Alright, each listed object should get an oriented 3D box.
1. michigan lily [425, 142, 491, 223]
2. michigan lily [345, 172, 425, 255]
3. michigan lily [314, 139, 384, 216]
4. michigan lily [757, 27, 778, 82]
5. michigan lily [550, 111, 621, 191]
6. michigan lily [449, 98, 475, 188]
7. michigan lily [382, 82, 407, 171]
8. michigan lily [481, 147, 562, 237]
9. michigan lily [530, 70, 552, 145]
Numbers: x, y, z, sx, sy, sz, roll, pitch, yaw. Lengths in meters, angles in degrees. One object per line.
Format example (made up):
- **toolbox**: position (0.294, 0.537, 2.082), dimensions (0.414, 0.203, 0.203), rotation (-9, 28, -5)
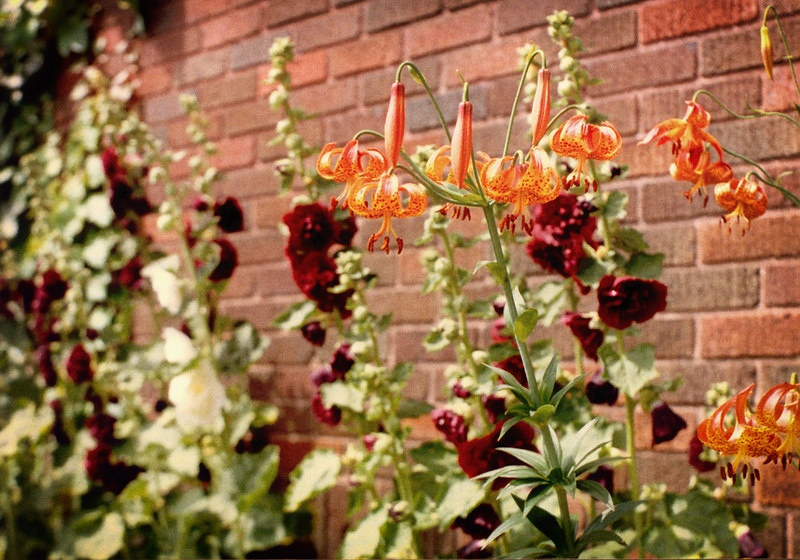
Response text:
- **michigan lily**: position (0.140, -0.216, 2.386), dimensions (0.184, 0.199, 0.162), rotation (0, 0, -28)
- **michigan lily**: position (-0.041, -0.143, 2.352), dimensions (0.179, 0.189, 0.189), rotation (-1, -3, -8)
- **michigan lily**: position (-0.104, -0.258, 2.352), dimensions (0.161, 0.190, 0.179), rotation (5, -17, -3)
- **michigan lily**: position (0.830, -0.516, 2.359), dimensions (0.020, 0.129, 0.122), rotation (-8, -2, 20)
- **michigan lily**: position (0.397, -0.292, 2.309), dimensions (0.149, 0.177, 0.163), rotation (9, -12, -2)
- **michigan lily**: position (0.130, -0.291, 2.236), dimensions (0.058, 0.176, 0.083), rotation (-8, -2, -8)
- **michigan lily**: position (-0.012, -0.336, 2.240), dimensions (0.057, 0.171, 0.033), rotation (-8, -2, 10)
- **michigan lily**: position (0.266, -0.196, 2.304), dimensions (0.176, 0.207, 0.168), rotation (3, -1, 40)
- **michigan lily**: position (0.308, -0.378, 2.284), dimensions (0.054, 0.163, 0.145), rotation (-8, -2, 9)
